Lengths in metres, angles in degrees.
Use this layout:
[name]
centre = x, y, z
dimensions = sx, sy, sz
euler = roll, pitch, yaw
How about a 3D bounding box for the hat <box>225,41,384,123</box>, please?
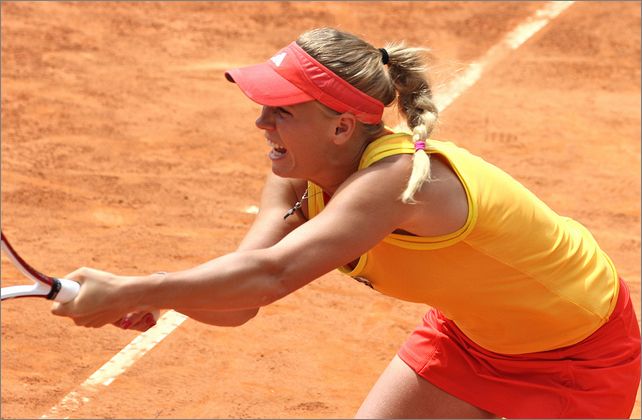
[hat]
centre = -0.123, -0.774, 5.612
dimensions = 0.946, 0.233, 0.523
euler = 15, 5, -10
